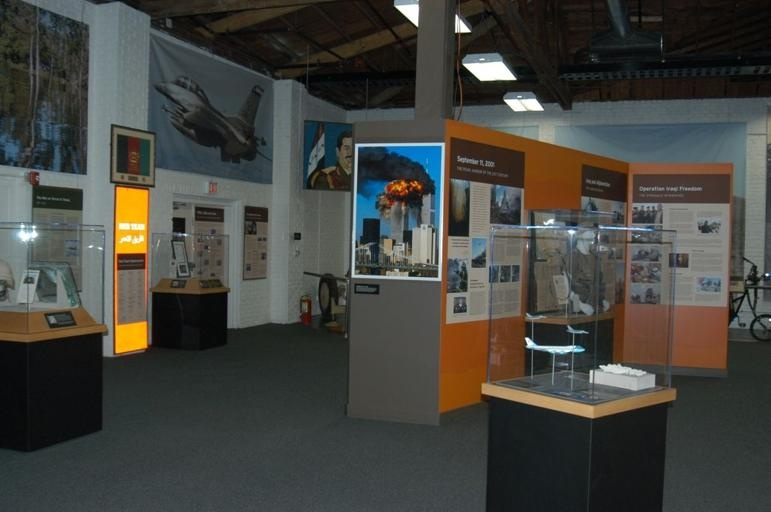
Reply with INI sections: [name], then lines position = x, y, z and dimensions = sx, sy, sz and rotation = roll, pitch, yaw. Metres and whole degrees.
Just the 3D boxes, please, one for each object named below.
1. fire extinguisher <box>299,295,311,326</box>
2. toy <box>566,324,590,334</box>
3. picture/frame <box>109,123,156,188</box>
[fire extinguisher]
position = -1.745, 1.186, 13.262
dimensions = 0.228, 0.562, 0.469
rotation = 0, 6, -13
[toy]
position = 1.545, 0.598, 4.895
dimensions = 0.171, 0.071, 0.024
rotation = 3, 6, 8
[picture/frame]
position = -4.156, -1.657, 10.027
dimensions = 0.927, 0.932, 0.090
rotation = 11, 12, 19
